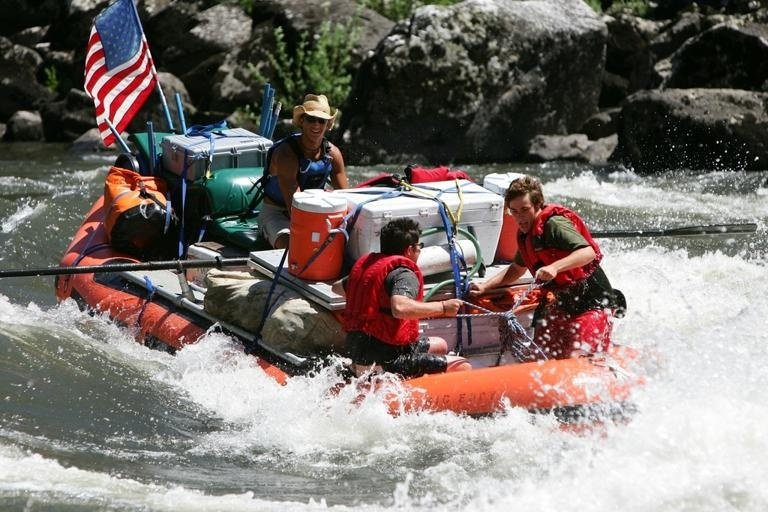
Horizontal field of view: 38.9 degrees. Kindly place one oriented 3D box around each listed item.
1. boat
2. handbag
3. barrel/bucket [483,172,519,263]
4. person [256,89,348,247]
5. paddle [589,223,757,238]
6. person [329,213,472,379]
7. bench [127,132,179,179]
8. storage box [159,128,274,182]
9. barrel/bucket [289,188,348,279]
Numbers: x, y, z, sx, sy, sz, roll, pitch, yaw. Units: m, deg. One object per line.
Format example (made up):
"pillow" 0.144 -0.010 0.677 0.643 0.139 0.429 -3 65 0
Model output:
"boat" -0.756 0.448 12.541 3.288 1.748 4.780 -15 25 -41
"handbag" -3.099 -0.525 13.626 0.727 1.171 0.513 4 -33 -29
"barrel/bucket" 1.421 -0.488 12.912 0.400 1.086 0.413 3 -8 0
"person" -1.020 -1.116 13.199 0.798 2.203 0.805 -2 7 -29
"paddle" 3.844 -0.334 14.278 2.193 0.156 0.267 0 -19 -8
"person" 0.130 0.489 11.618 1.258 1.613 0.687 -2 26 -3
"bench" -3.073 -1.296 14.342 0.424 0.657 0.874 -6 17 -8
"storage box" -2.242 -1.336 14.345 1.310 0.446 1.367 11 18 34
"barrel/bucket" -0.715 -0.178 12.174 0.441 1.122 0.703 5 -10 6
